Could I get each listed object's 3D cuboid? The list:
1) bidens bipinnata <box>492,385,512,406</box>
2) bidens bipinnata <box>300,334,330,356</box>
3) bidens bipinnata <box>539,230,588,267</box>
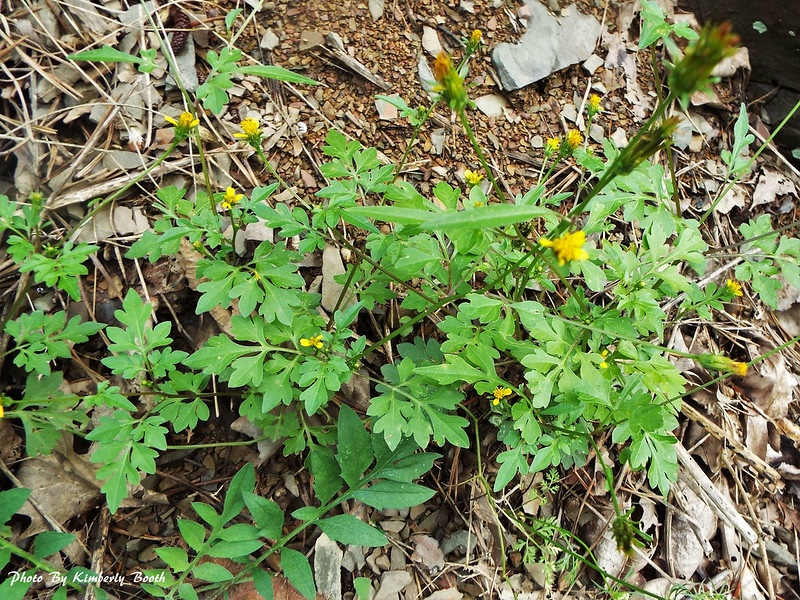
[{"bbox_3d":[0.568,0.519,3.585,0.112,0.116,0.047,20,47,-20],"label":"bidens bipinnata"},{"bbox_3d":[-0.464,0.232,3.439,0.126,0.062,0.123,-40,68,-9],"label":"bidens bipinnata"},{"bbox_3d":[0.739,-0.229,2.866,0.159,0.078,0.179,17,78,-15],"label":"bidens bipinnata"}]
